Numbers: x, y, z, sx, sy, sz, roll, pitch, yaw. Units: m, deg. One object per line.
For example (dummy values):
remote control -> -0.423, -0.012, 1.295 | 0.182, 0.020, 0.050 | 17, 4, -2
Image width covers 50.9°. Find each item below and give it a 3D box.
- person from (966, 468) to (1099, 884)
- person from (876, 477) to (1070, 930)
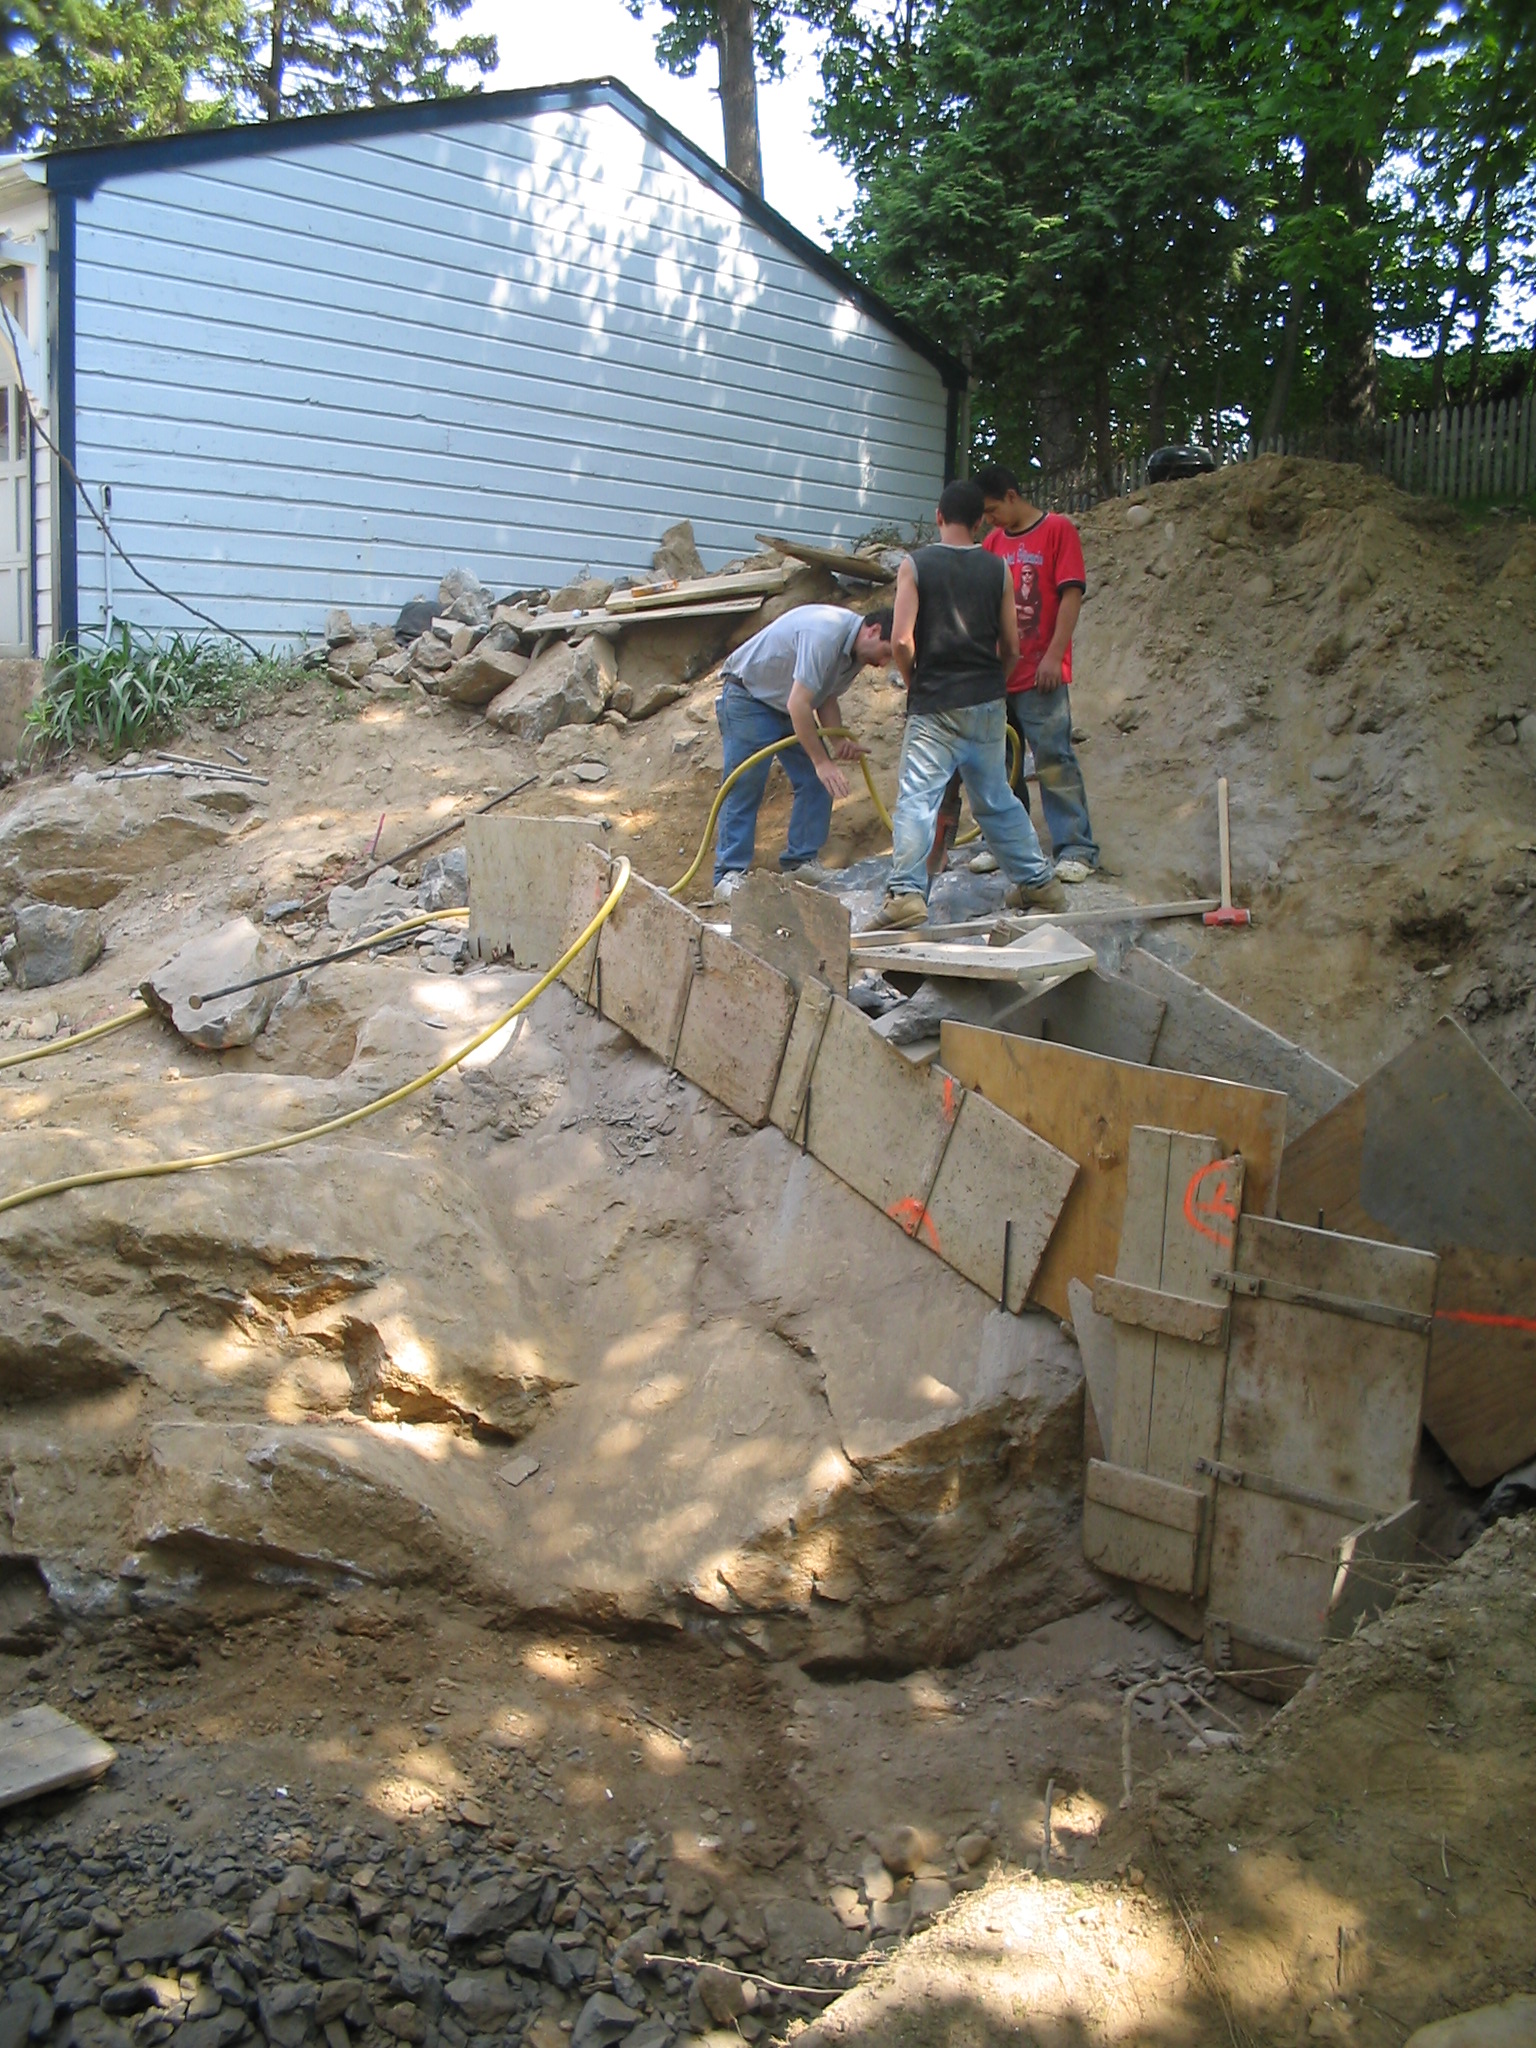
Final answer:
person -> 1.000, -1.376, 6.327 | 0.561, 1.571, 0.565 | -8, 9, -25
person -> 0.658, -1.077, 5.481 | 0.818, 1.489, 0.306 | -3, 13, -40
